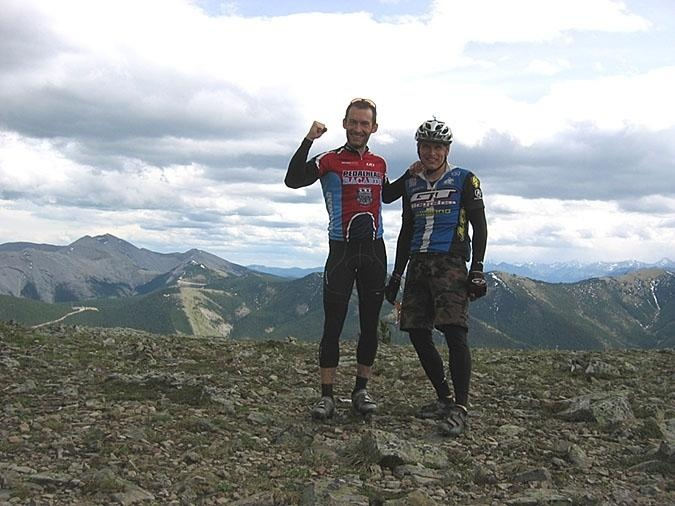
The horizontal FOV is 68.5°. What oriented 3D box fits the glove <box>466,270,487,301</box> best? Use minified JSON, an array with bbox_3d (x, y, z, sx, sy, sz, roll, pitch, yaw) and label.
[{"bbox_3d":[2.849,0.678,10.153,0.373,0.645,0.408,4,6,14],"label":"glove"}]
